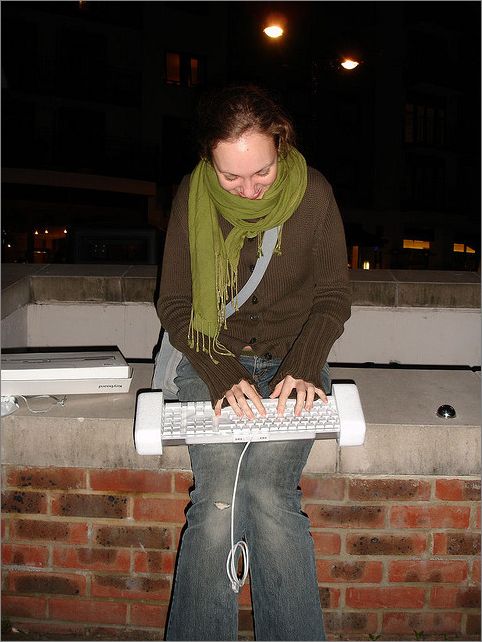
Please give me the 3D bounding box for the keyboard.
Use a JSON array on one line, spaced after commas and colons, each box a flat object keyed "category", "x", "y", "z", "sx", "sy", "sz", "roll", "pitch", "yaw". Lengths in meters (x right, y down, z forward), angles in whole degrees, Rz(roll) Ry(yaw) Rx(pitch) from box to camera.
[{"category": "keyboard", "x": 0.021, "y": 0.277, "z": 1.427, "sx": 0.454, "sy": 0.074, "sz": 0.157, "roll": -4, "pitch": 4, "yaw": 7}]
